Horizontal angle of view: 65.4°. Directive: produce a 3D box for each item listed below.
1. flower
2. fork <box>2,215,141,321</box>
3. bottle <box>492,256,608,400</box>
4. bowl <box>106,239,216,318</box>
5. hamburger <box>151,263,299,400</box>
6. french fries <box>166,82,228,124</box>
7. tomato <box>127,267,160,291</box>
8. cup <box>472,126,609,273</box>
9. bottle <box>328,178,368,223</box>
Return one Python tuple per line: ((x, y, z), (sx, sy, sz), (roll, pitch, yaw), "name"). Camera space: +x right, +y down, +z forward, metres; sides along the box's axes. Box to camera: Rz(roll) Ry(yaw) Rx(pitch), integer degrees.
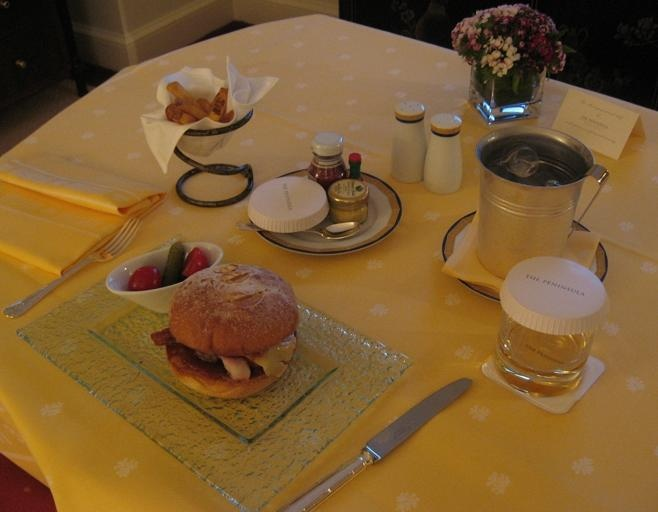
((0.387, -0.461, 1.233), (0.237, 0.202, 0.238), (-8, 44, -4), "flower")
((-0.453, 0.028, 0.893), (0.033, 0.030, 0.206), (27, 57, 21), "fork")
((0.291, 0.104, 0.673), (0.116, 0.120, 0.116), (-23, 44, -15), "bottle")
((-0.262, 0.032, 0.809), (0.130, 0.054, 0.133), (-5, 32, 3), "bowl")
((-0.135, 0.101, 0.722), (0.178, 0.108, 0.187), (6, 34, 8), "hamburger")
((-0.260, -0.294, 1.036), (0.109, 0.036, 0.111), (49, 39, 13), "french fries")
((-0.292, 0.037, 0.800), (0.035, 0.026, 0.044), (5, 27, 4), "tomato")
((0.286, -0.101, 0.827), (0.225, 0.222, 0.201), (8, 47, 14), "cup")
((0.035, -0.101, 0.938), (0.075, 0.063, 0.076), (-5, 38, -3), "bottle")
